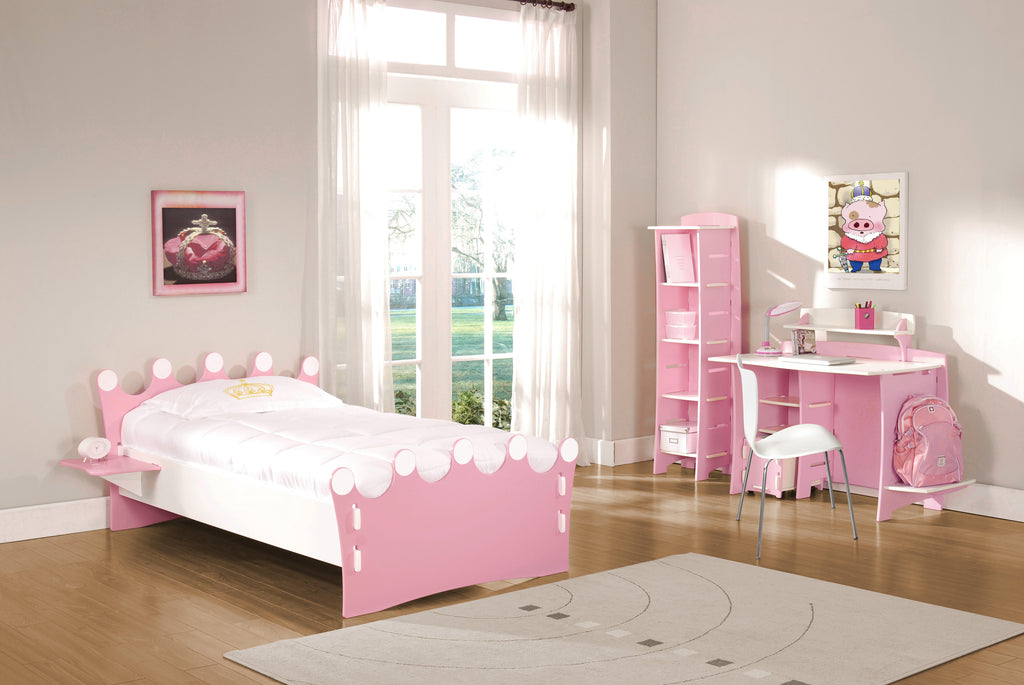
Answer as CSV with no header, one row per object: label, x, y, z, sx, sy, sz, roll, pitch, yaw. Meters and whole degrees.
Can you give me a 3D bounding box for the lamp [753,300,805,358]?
lamp,2.015,-0.112,5.711,0.353,0.290,0.423,-2,-3,-39
